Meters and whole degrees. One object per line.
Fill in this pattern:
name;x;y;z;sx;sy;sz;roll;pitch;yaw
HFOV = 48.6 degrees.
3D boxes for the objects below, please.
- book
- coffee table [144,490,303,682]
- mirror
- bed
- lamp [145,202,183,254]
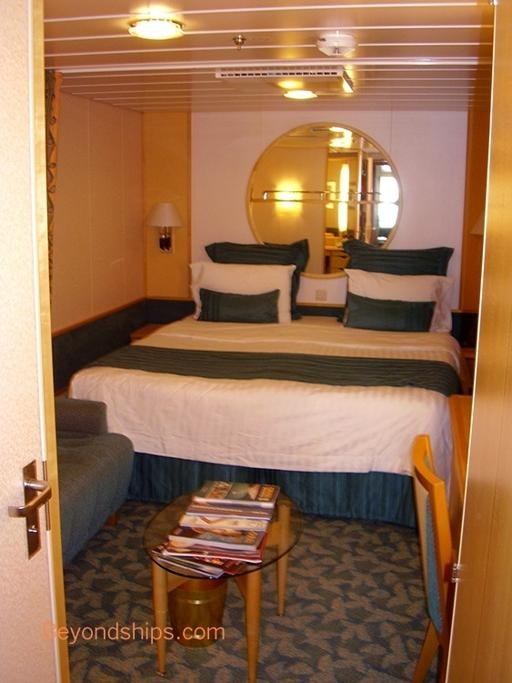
book;-0.126;0.614;1.922;0.344;0.095;0.520;2;10;10
coffee table;-0.103;0.834;2.021;0.456;0.394;0.597;2;8;14
mirror;0.614;-1.212;4.775;1.401;1.361;0.050;2;9;11
bed;0.036;0.373;3.123;1.419;0.457;1.405;1;12;6
lamp;-0.812;-1.005;5.073;0.282;0.432;0.361;-1;9;-8
